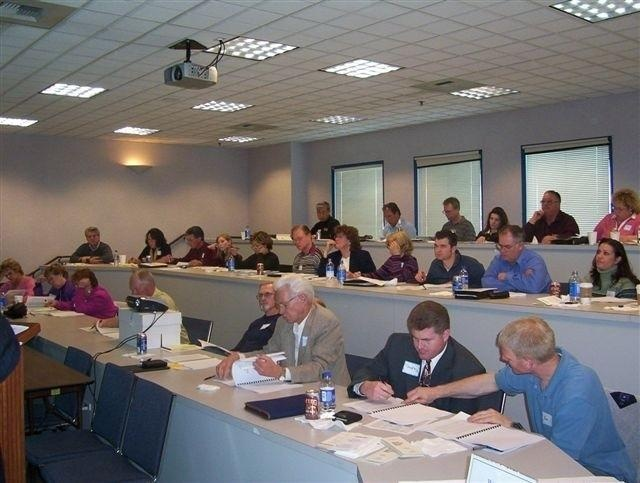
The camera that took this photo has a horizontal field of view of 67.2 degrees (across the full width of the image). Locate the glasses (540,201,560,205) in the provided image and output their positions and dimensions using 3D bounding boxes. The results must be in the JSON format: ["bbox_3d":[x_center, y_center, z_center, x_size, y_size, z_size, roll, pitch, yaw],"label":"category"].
[{"bbox_3d":[3.365,-0.575,7.027,0.211,0.071,0.090,-2,2,18],"label":"glasses"}]

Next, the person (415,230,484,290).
[{"bbox_3d":[1.485,0.211,5.406,0.512,0.622,0.885,8,-9,-43],"label":"person"}]

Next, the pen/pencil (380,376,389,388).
[{"bbox_3d":[0.378,0.827,2.848,0.027,0.098,0.020,-23,32,28],"label":"pen/pencil"}]

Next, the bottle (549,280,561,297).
[{"bbox_3d":[2.258,0.457,4.633,0.067,0.071,0.125,-14,-9,31],"label":"bottle"}]

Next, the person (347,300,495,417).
[{"bbox_3d":[0.708,0.751,3.151,0.561,0.908,0.598,-6,16,-45],"label":"person"}]

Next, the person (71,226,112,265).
[{"bbox_3d":[-4.410,0.072,9.312,0.906,0.692,0.548,-1,3,39],"label":"person"}]

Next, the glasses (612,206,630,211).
[{"bbox_3d":[3.952,-0.436,6.310,0.150,0.052,0.124,-2,5,-39],"label":"glasses"}]

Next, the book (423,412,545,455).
[{"bbox_3d":[0.733,0.881,2.208,0.451,0.032,0.327,-1,2,42],"label":"book"}]

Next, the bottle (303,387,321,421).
[{"bbox_3d":[-0.035,0.817,2.415,0.119,0.129,0.112,4,-8,-9],"label":"bottle"}]

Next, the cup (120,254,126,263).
[{"bbox_3d":[-3.702,0.330,9.014,0.099,0.142,0.289,-3,2,-17],"label":"cup"}]

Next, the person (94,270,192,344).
[{"bbox_3d":[-1.696,0.693,4.668,0.556,0.763,0.489,-12,-8,24],"label":"person"}]

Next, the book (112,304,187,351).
[{"bbox_3d":[-1.407,0.699,4.004,0.379,0.211,0.376,0,1,-35],"label":"book"}]

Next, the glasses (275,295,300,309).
[{"bbox_3d":[-0.225,0.410,3.286,0.136,0.054,0.101,2,-6,-32],"label":"glasses"}]

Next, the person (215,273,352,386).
[{"bbox_3d":[-0.271,0.767,3.763,0.931,1.241,0.672,14,-23,-33],"label":"person"}]

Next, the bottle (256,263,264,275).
[{"bbox_3d":[-0.806,0.376,6.472,0.141,0.207,0.133,-1,2,0],"label":"bottle"}]

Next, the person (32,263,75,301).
[{"bbox_3d":[-3.501,0.543,6.536,0.946,0.497,0.392,-2,5,29],"label":"person"}]

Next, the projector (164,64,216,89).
[{"bbox_3d":[-1.424,-1.869,5.410,0.312,0.134,0.434,-1,-3,43],"label":"projector"}]

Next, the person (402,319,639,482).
[{"bbox_3d":[1.084,0.780,2.502,0.480,0.817,0.807,-5,3,-39],"label":"person"}]

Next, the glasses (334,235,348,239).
[{"bbox_3d":[0.280,-0.069,6.287,0.155,0.085,0.054,-2,3,3],"label":"glasses"}]

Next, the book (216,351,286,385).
[{"bbox_3d":[-0.399,0.795,3.003,0.282,0.092,0.220,0,-3,-16],"label":"book"}]

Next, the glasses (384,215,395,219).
[{"bbox_3d":[1.214,-0.432,8.375,0.094,0.030,0.091,2,-4,-38],"label":"glasses"}]

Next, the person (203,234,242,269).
[{"bbox_3d":[-1.734,0.191,8.583,0.369,1.005,0.526,15,-20,-43],"label":"person"}]
